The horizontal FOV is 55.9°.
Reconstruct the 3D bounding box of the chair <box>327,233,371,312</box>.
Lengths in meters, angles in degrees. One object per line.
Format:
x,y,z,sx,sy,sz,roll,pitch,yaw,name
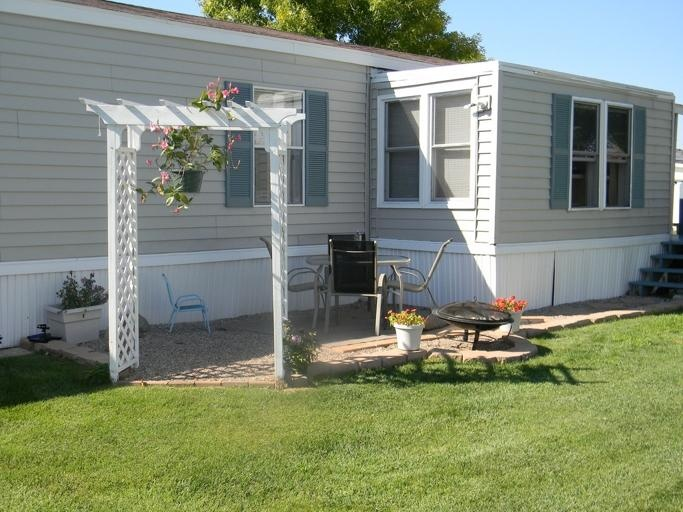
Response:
0.104,0.225,8.412,0.717,1.021,0.758,3,-17,-14,chair

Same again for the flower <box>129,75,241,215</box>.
-1.576,-1.182,6.716,0.852,1.091,0.749,-10,-5,15,flower

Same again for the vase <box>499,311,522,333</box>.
2.141,0.822,8.017,0.252,0.224,0.285,1,-2,-2,vase

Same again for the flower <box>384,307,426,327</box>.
0.739,0.705,7.426,0.359,0.169,0.563,-1,11,-4,flower

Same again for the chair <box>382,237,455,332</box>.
1.068,0.385,9.209,1.143,1.528,1.095,5,0,-8,chair

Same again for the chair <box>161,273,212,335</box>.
-2.013,0.626,8.414,0.564,0.707,0.467,-3,3,-10,chair

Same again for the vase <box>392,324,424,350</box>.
0.769,0.918,7.204,0.295,0.230,0.296,0,2,-13,vase

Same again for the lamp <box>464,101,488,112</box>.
1.932,-2.093,8.976,0.134,0.077,0.211,9,9,43,lamp

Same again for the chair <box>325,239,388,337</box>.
0.220,0.365,8.420,0.884,1.224,0.905,0,5,-11,chair

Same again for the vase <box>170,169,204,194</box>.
-1.556,-0.758,6.589,0.249,0.169,0.249,-2,3,-18,vase

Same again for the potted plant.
-3.238,0.644,7.822,0.499,0.758,0.616,2,2,31,potted plant
